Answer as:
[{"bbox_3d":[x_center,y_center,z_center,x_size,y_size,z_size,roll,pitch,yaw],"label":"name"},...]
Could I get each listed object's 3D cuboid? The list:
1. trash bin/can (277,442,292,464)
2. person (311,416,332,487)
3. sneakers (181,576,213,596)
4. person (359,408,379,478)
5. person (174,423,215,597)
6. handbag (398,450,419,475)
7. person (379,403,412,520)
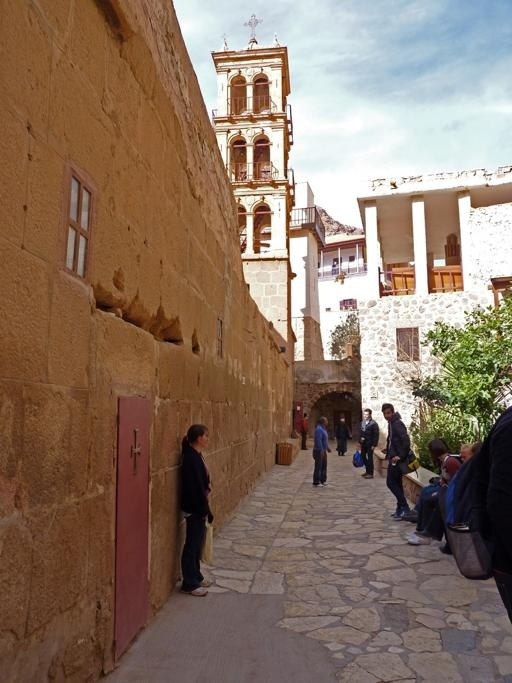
[{"bbox_3d":[0.821,3.334,15.067,0.344,0.959,0.574,0,1,4],"label":"trash bin/can"},{"bbox_3d":[1.418,2.421,11.211,0.326,1.482,1.976,-1,-5,8],"label":"person"},{"bbox_3d":[-0.445,1.880,3.908,0.281,0.167,0.105,-18,-19,30],"label":"sneakers"},{"bbox_3d":[2.734,2.466,12.245,0.422,1.652,1.617,-2,-5,12],"label":"person"},{"bbox_3d":[-0.486,1.313,3.968,0.254,1.299,0.371,0,-4,-11],"label":"person"},{"bbox_3d":[2.016,1.597,6.666,0.227,0.332,0.193,-7,-14,-16],"label":"handbag"},{"bbox_3d":[1.916,1.636,6.899,0.311,1.566,0.450,2,-7,-2],"label":"person"}]
